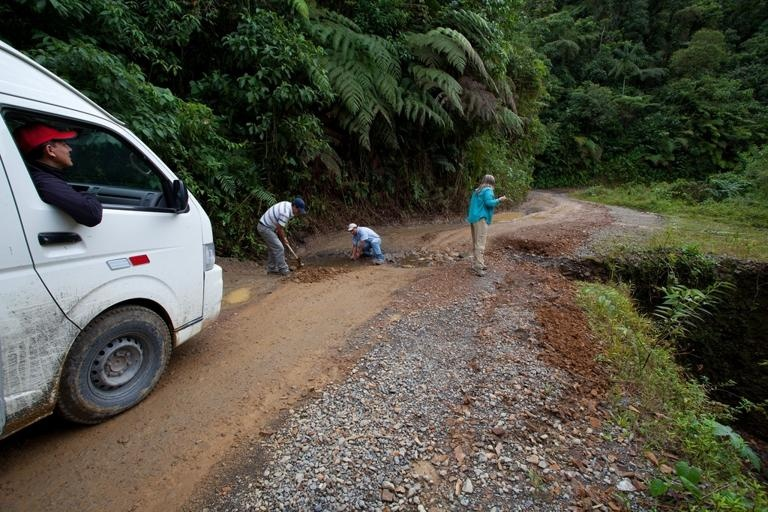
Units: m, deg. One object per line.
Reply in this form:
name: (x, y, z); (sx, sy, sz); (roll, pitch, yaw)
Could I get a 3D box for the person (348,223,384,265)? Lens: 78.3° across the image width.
person: (-0.420, -0.322, 10.919); (0.665, 1.084, 0.646); (-9, 8, 9)

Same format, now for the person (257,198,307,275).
person: (-2.044, -0.386, 9.579); (0.929, 1.443, 0.655); (-10, 13, -10)

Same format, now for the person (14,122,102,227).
person: (-4.121, -1.132, 5.906); (1.570, 1.139, 0.810); (20, 23, 32)

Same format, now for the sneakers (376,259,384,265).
sneakers: (-0.089, 0.115, 10.656); (0.221, 0.092, 0.291); (-9, 13, 1)

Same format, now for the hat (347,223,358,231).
hat: (-0.694, -0.658, 10.685); (0.199, 0.154, 0.278); (-15, 5, 25)

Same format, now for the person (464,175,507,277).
person: (1.959, -0.632, 9.444); (0.703, 1.892, 0.597); (-15, 15, -32)
